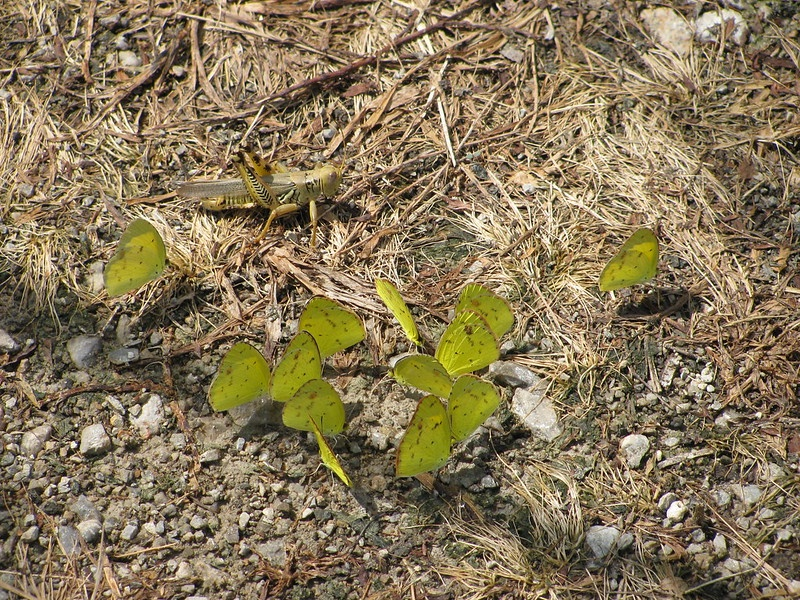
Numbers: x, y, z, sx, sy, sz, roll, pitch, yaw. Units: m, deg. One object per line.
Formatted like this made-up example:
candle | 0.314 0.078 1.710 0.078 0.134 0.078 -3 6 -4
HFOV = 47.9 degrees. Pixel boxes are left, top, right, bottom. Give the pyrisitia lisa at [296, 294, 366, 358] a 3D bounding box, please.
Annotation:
pyrisitia lisa | -0.457 0.159 6.436 0.365 0.726 0.474 -3 108 -3

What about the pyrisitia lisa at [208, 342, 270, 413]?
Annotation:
pyrisitia lisa | -1.099 0.504 6.195 0.439 0.352 0.474 -24 31 12

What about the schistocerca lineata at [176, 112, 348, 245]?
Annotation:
schistocerca lineata | -1.036 -0.838 6.666 1.165 0.583 0.582 4 67 -4

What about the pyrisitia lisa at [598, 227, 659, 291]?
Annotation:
pyrisitia lisa | 1.606 -0.245 6.365 0.453 0.591 0.230 -27 71 -15

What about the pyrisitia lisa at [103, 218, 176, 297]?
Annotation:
pyrisitia lisa | -1.869 -0.277 6.306 0.242 0.441 0.502 36 69 11
